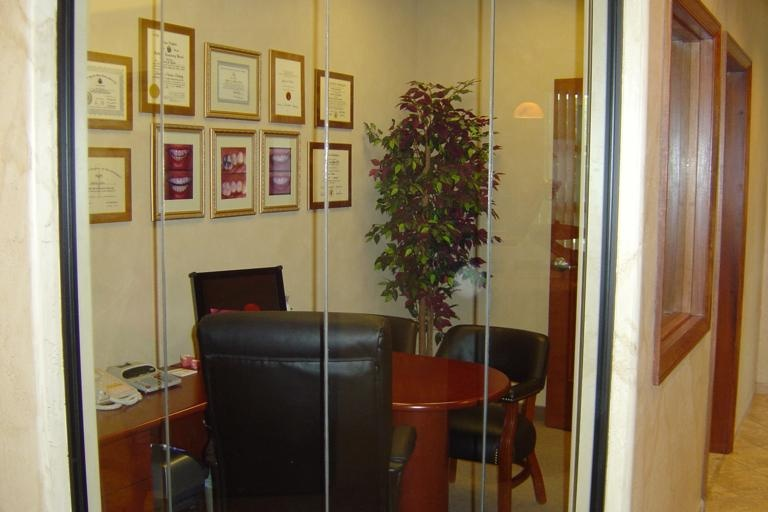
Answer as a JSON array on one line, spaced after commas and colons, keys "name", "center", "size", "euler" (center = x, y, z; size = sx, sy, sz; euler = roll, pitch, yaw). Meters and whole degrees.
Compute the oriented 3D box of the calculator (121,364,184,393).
[{"name": "calculator", "center": [-0.713, 0.375, 1.982], "size": [0.198, 0.093, 0.022], "euler": [-1, 4, 12]}]
